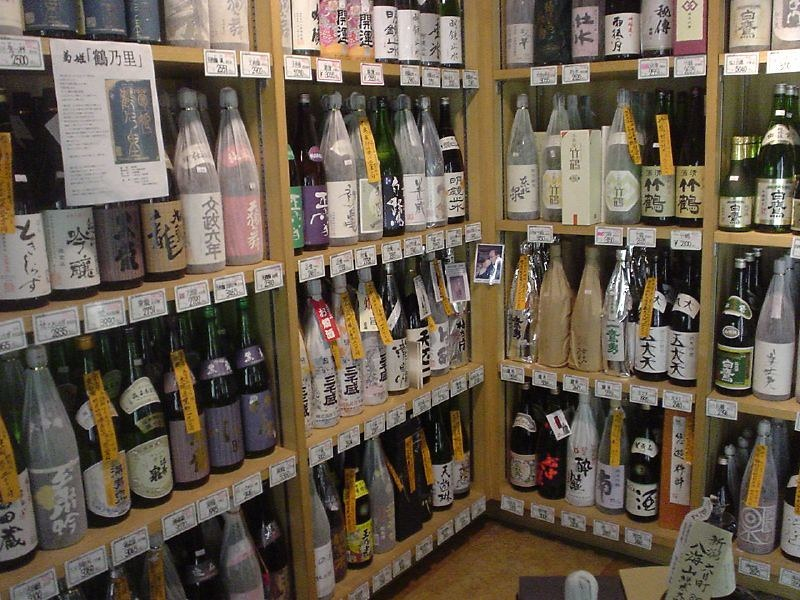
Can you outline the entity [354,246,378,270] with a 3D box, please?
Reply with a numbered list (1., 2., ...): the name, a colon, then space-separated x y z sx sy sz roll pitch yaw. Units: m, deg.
1. entity: -0.115 -0.144 2.192 0.062 0.088 0.117 -2 14 6
